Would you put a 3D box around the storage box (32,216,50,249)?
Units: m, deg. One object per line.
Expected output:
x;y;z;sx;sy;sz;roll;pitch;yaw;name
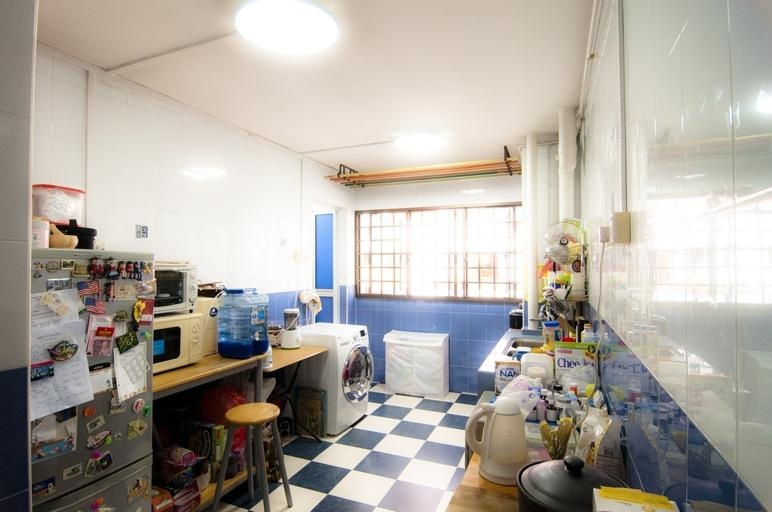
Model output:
-1.736;-0.113;2.495;0.066;0.138;0.085;-2;5;-35;storage box

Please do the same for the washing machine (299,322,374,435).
-0.531;1.174;4.890;0.686;0.920;0.750;-1;2;18;washing machine

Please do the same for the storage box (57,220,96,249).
-1.731;-0.118;2.826;0.183;0.160;0.134;1;2;-8;storage box

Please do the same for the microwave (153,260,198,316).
-1.523;0.242;3.440;0.252;0.336;0.359;0;0;36;microwave

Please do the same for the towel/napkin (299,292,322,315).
-0.802;0.504;5.320;0.233;0.239;0.122;-9;5;-37;towel/napkin

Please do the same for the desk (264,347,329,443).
-0.764;1.222;4.321;0.481;0.635;0.919;0;-1;19;desk

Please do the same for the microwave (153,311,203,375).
-1.404;0.571;3.359;0.286;0.352;0.475;0;-2;20;microwave

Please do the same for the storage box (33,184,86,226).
-1.985;-0.288;2.952;0.240;0.220;0.303;-4;-2;28;storage box

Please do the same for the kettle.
0.531;0.860;2.365;0.317;0.364;0.225;1;3;10;kettle

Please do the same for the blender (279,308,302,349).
-0.839;0.660;4.483;0.191;0.331;0.231;3;-4;-44;blender

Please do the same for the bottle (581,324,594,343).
1.310;0.500;3.204;0.076;0.098;0.172;2;5;23;bottle

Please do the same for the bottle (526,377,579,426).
0.949;0.779;2.811;0.226;0.169;0.259;0;0;-39;bottle
